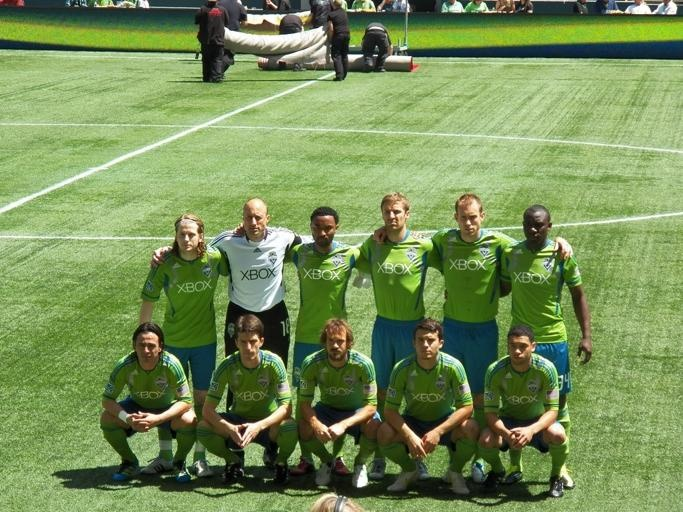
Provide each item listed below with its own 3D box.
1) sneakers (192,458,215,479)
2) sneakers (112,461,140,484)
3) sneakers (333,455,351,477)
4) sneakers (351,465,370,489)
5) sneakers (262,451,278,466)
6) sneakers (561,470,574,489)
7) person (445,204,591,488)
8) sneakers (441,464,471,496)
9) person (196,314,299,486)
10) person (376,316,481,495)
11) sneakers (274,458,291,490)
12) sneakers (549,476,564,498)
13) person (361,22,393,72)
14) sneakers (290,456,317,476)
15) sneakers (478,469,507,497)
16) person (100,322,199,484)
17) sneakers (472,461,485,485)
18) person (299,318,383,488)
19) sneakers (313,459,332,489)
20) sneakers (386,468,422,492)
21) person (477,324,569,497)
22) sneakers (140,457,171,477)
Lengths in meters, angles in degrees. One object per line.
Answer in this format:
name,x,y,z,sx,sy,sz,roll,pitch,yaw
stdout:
sneakers,-1.242,1.912,7.645,0.096,0.100,0.245,-2,-5,-23
sneakers,-1.926,1.913,7.587,0.102,0.123,0.268,-1,-2,25
sneakers,0.001,1.912,7.731,0.081,0.088,0.215,-6,10,-29
sneakers,0.169,1.952,7.556,0.103,0.135,0.213,-1,1,1
sneakers,-0.663,1.853,7.819,0.129,0.145,0.136,-2,6,-25
sneakers,1.977,1.951,7.443,0.063,0.078,0.164,-27,48,-20
person,1.826,0.845,7.932,1.082,2.527,0.845,0,5,14
sneakers,1.025,1.950,7.470,0.200,0.194,0.334,-3,17,-5
person,-0.848,1.255,7.543,0.875,1.445,0.560,-3,17,-5
person,0.823,1.350,7.616,0.847,1.532,0.868,0,1,19
sneakers,-0.530,1.916,7.507,0.100,0.160,0.226,1,8,0
sneakers,1.868,1.990,7.332,0.078,0.088,0.217,-1,13,7
person,1.016,-6.041,24.700,0.809,1.359,1.190,-1,17,2
sneakers,-0.353,1.917,7.807,0.293,0.135,0.103,-1,3,-37
sneakers,1.324,1.959,7.434,0.189,0.156,0.253,2,17,10
person,-1.712,1.340,7.737,0.850,1.400,0.903,1,6,3
sneakers,1.235,1.945,7.665,0.076,0.100,0.227,0,4,3
person,-0.029,1.283,7.619,0.754,1.453,0.660,-3,17,-4
sneakers,-0.163,1.945,7.600,0.145,0.144,0.204,-2,17,-2
sneakers,0.552,1.956,7.519,0.345,0.141,0.115,-32,20,-22
person,1.642,1.355,7.529,0.813,1.464,0.813,3,10,38
sneakers,-1.665,1.899,7.757,0.328,0.144,0.110,-4,7,-21
